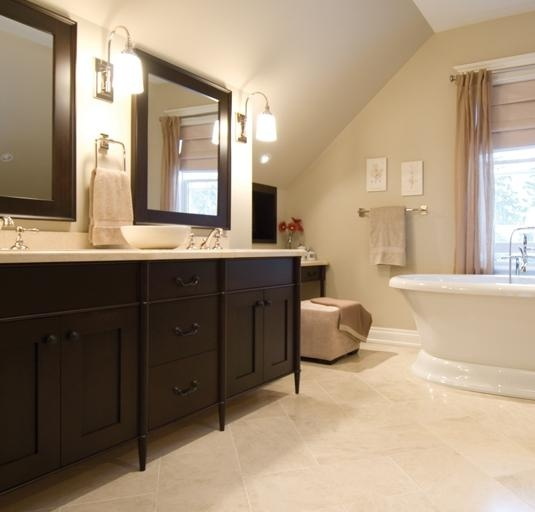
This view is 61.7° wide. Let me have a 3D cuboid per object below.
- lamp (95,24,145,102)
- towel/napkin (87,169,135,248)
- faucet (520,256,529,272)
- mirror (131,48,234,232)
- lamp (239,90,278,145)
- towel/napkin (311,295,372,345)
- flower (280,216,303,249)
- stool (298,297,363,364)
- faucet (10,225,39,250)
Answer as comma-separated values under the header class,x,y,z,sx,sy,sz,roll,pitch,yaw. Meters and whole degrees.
class,x,y,z,sx,sy,sz,roll,pitch,yaw
lamp,-0.659,-0.914,2.121,0.221,0.359,0.260,1,2,25
towel/napkin,-0.721,-0.226,2.074,0.061,0.340,0.203,1,2,32
faucet,1.957,0.065,3.398,0.043,0.133,0.231,1,2,30
mirror,-0.489,-0.654,2.467,0.043,1.205,0.930,-1,-3,26
lamp,-0.068,-0.942,3.096,0.252,0.389,0.590,0,2,3
towel/napkin,0.585,0.463,3.470,0.328,0.319,0.340,2,3,38
flower,0.231,-0.222,4.318,0.272,0.344,0.235,3,-7,-39
stool,0.486,0.529,3.383,0.373,0.379,0.386,-1,0,37
faucet,-0.944,-0.074,1.726,0.061,0.105,0.122,2,-1,14
